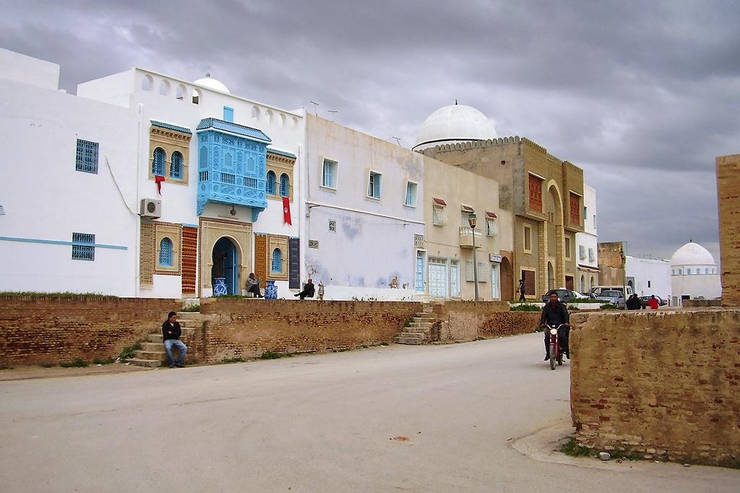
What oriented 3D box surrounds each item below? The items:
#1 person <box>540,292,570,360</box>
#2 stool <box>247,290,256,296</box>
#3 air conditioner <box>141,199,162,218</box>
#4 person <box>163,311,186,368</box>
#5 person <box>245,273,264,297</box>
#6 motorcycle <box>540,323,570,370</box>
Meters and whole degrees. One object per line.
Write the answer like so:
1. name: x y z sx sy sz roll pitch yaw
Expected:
1. person: 5.250 2.255 17.968 0.765 1.907 1.226 -2 -7 15
2. stool: -5.085 1.986 26.630 0.367 0.225 0.288 -1 -3 5
3. air conditioner: -8.231 -1.421 23.505 0.318 0.635 0.646 -5 -7 33
4. person: -5.964 2.812 19.268 0.661 1.623 0.911 -1 -7 7
5. person: -4.945 1.576 26.397 0.568 1.107 1.467 1 -8 -11
6. motorcycle: 5.278 2.824 18.052 0.636 0.775 1.298 -4 -7 15
